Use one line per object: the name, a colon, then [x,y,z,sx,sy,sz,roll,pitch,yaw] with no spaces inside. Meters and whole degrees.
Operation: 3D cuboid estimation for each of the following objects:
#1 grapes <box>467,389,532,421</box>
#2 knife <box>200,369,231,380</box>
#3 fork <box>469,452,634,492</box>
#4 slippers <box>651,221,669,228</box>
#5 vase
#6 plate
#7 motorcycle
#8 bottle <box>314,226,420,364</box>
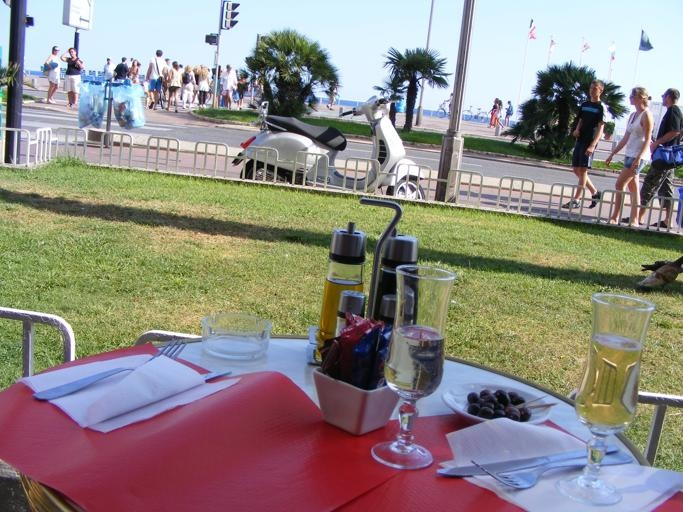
grapes: [0.456,0.431,2.012,0.139,0.083,0.130,-7,14,-32]
knife: [-0.363,0.358,2.060,0.023,0.026,0.089,25,21,37]
fork: [0.511,0.544,1.732,0.372,0.073,0.072,2,13,-6]
slippers: [4.463,-0.421,9.757,0.092,0.109,0.280,7,9,8]
vase: [0.036,0.368,1.901,0.182,0.132,0.158,12,10,34]
plate: [0.450,0.420,2.045,0.273,0.118,0.203,-3,9,-23]
motorcycle: [-0.316,-1.590,10.446,3.061,2.081,1.403,2,13,-5]
bottle: [0.094,0.162,2.215,0.200,0.543,0.236,3,7,-12]
